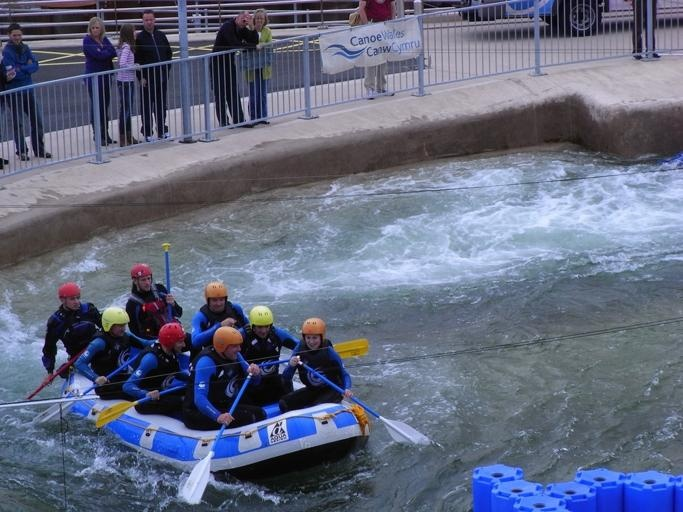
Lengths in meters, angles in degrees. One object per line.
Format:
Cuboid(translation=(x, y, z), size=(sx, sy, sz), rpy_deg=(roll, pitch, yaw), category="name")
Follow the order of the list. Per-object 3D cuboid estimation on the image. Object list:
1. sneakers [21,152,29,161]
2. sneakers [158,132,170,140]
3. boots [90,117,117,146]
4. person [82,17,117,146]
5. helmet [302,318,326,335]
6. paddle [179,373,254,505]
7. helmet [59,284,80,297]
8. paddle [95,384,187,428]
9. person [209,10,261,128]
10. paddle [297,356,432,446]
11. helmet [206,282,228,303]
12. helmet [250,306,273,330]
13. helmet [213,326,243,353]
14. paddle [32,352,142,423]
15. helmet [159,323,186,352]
Cuboid(translation=(-5.271, -1.665, 21.054), size=(0.080, 0.051, 0.129), rpy_deg=(3, -23, -24), category="sneakers")
Cuboid(translation=(-3.139, -2.149, 22.383), size=(0.178, 0.061, 0.131), rpy_deg=(-1, 11, 22), category="sneakers")
Cuboid(translation=(-4.067, -2.132, 21.856), size=(0.579, 0.571, 0.288), rpy_deg=(-6, 56, -13), category="boots")
Cuboid(translation=(-4.048, -2.977, 21.493), size=(0.587, 2.200, 1.011), rpy_deg=(-8, 12, -9), category="person")
Cuboid(translation=(-0.355, 0.977, 16.700), size=(0.213, 0.254, 0.238), rpy_deg=(6, 42, 13), category="helmet")
Cuboid(translation=(-1.482, 2.222, 16.155), size=(0.359, 0.185, 2.312), rpy_deg=(23, 42, 3), category="paddle")
Cuboid(translation=(-3.747, 0.469, 17.385), size=(0.260, 0.203, 0.219), rpy_deg=(9, 10, 30), category="helmet")
Cuboid(translation=(-2.690, 1.966, 16.983), size=(0.111, 0.299, 2.184), rpy_deg=(35, 20, 20), category="paddle")
Cuboid(translation=(-1.937, -3.325, 22.450), size=(0.783, 2.004, 1.066), rpy_deg=(3, 14, 34), category="person")
Cuboid(translation=(0.286, 1.983, 16.776), size=(1.737, 0.252, 0.093), rpy_deg=(35, 52, -4), category="paddle")
Cuboid(translation=(-1.736, 0.528, 17.580), size=(0.223, 0.274, 0.226), rpy_deg=(1, 50, -10), category="helmet")
Cuboid(translation=(-1.094, 0.824, 16.966), size=(0.313, 0.292, 0.250), rpy_deg=(-4, 12, 3), category="helmet")
Cuboid(translation=(-1.471, 1.083, 16.331), size=(0.396, 0.274, 0.270), rpy_deg=(-4, 14, 12), category="helmet")
Cuboid(translation=(-3.363, 1.802, 16.988), size=(1.510, 0.149, 0.146), rpy_deg=(-35, 0, 2), category="paddle")
Cuboid(translation=(-2.236, 1.085, 16.764), size=(0.409, 0.336, 0.288), rpy_deg=(1, 17, 3), category="helmet")
